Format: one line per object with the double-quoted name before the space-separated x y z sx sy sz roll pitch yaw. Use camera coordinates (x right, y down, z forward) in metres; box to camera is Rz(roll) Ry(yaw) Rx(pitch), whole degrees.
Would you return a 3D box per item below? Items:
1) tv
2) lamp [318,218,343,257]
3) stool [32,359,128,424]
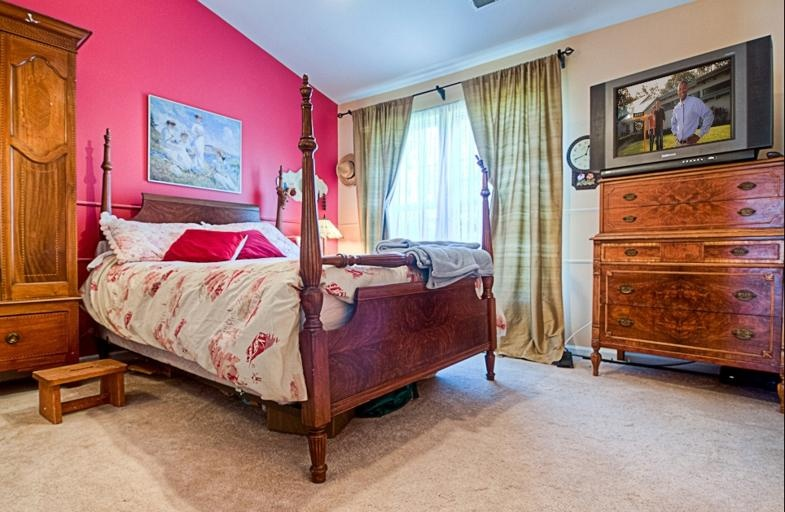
"tv" 2.792 -1.185 5.079 1.546 1.030 0.803 -3 -12 41
"lamp" -0.879 -0.290 6.774 0.348 0.388 0.350 -2 -4 32
"stool" -2.549 1.087 4.289 0.313 0.363 0.589 7 7 37
